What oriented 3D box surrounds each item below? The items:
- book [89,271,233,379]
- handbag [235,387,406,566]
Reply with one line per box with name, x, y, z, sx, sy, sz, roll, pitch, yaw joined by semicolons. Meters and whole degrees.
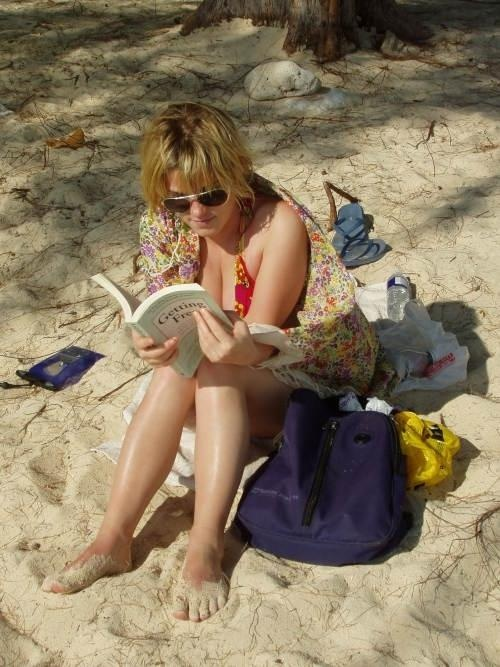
book;-0.214;-0.081;1.963;0.231;0.262;0.276;-24;42;-13
handbag;0.285;0.431;2.078;0.572;0.195;0.516;-1;48;32
